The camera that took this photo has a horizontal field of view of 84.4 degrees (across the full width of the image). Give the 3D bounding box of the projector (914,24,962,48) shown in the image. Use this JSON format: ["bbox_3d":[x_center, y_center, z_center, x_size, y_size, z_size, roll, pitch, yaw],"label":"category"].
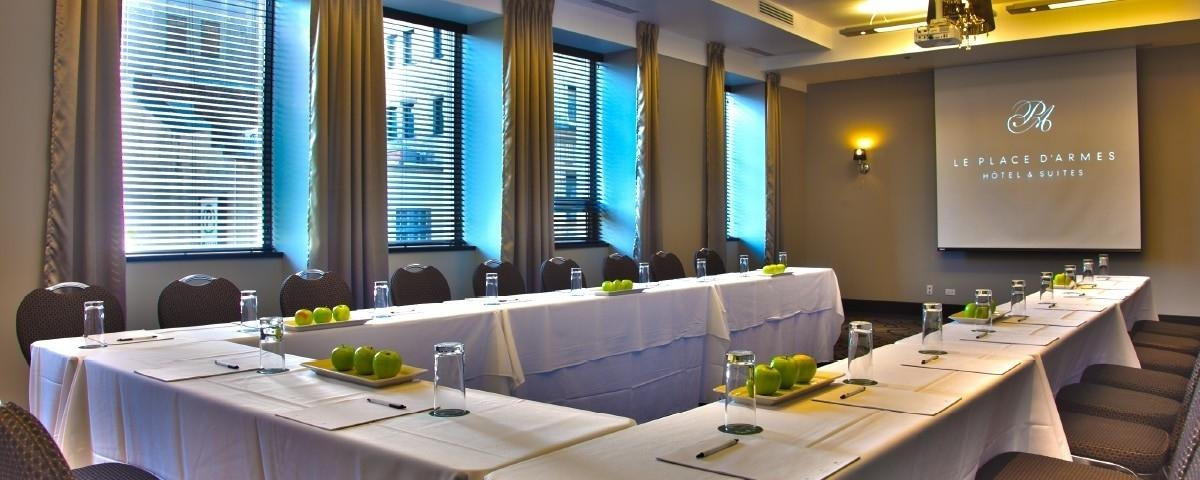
[{"bbox_3d":[4.769,-2.840,9.267,0.558,0.193,0.459,3,5,40],"label":"projector"}]

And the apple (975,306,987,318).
[{"bbox_3d":[4.332,0.813,7.537,0.157,0.113,0.148,-2,3,-40],"label":"apple"}]

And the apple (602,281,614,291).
[{"bbox_3d":[0.099,0.596,8.559,0.147,0.109,0.113,-1,40,6],"label":"apple"}]

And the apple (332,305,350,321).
[{"bbox_3d":[-2.940,0.838,7.571,0.197,0.151,0.193,6,-7,-44],"label":"apple"}]

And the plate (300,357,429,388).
[{"bbox_3d":[-2.379,1.315,6.559,0.778,0.078,0.472,1,0,31],"label":"plate"}]

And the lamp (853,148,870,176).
[{"bbox_3d":[5.201,-1.578,13.244,0.303,0.522,0.193,-5,4,17],"label":"lamp"}]

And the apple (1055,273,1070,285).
[{"bbox_3d":[6.322,0.529,9.093,0.179,0.127,0.163,-2,0,-30],"label":"apple"}]

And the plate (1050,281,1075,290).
[{"bbox_3d":[6.322,0.605,9.063,0.327,0.083,0.275,-1,-1,1],"label":"plate"}]

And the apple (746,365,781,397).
[{"bbox_3d":[1.589,1.353,6.399,0.451,0.232,0.388,6,5,11],"label":"apple"}]

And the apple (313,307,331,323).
[{"bbox_3d":[-3.152,0.843,7.451,0.197,0.171,0.189,0,-4,41],"label":"apple"}]
